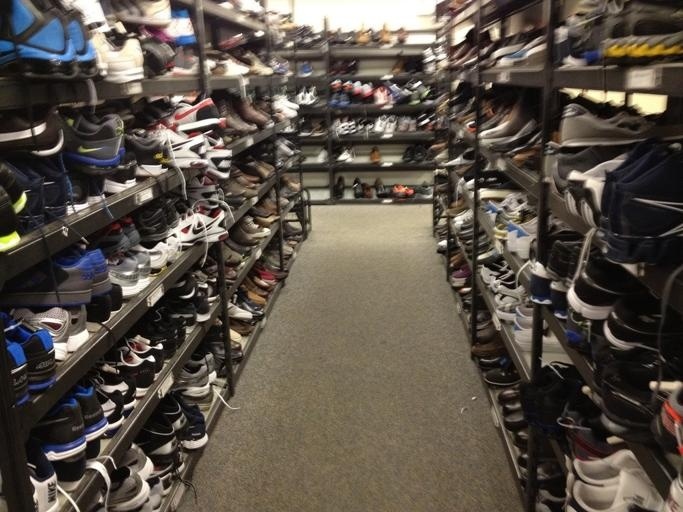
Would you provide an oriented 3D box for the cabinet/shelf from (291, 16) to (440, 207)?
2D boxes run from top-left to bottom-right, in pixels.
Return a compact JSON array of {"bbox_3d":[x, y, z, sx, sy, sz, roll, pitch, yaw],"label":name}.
[{"bbox_3d":[0.348,-2.109,6.652,2.838,2.719,1.000,-1,16,1],"label":"cabinet/shelf"}]
